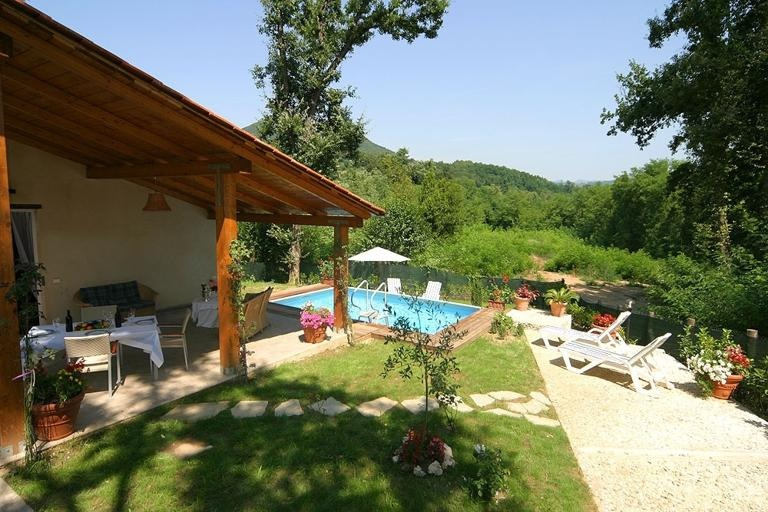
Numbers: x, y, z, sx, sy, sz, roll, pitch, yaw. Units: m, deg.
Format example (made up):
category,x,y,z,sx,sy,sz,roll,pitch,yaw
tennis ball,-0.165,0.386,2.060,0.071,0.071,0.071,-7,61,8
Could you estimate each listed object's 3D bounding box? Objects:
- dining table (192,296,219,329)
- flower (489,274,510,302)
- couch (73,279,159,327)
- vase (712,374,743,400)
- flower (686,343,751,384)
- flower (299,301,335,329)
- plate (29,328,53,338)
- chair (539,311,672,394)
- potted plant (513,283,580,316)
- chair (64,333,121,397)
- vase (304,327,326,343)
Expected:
category,x,y,z,sx,sy,sz,roll,pitch,yaw
dining table,-5.287,1.613,14.939,0.881,0.496,0.930,0,14,-1
flower,4.706,1.330,20.322,0.789,0.785,1.279,0,41,-1
couch,-7.983,1.816,15.262,1.081,1.102,2.593,19,16,37
vase,8.445,3.204,12.313,0.676,0.636,0.215,0,3,-6
flower,8.332,2.672,12.427,1.294,0.883,0.557,0,3,4
flower,-1.831,1.644,13.994,0.780,0.568,0.788,1,-2,21
plate,-7.843,1.711,11.446,0.422,0.129,0.790,-2,3,-39
chair,6.071,2.463,13.781,2.569,1.672,3.161,0,2,-8
potted plant,6.069,1.613,19.018,1.157,1.111,2.075,-2,3,-37
chair,-6.525,2.216,11.423,1.202,1.522,1.224,-1,2,-18
vase,-1.942,2.157,13.806,0.466,0.336,0.470,3,7,20
